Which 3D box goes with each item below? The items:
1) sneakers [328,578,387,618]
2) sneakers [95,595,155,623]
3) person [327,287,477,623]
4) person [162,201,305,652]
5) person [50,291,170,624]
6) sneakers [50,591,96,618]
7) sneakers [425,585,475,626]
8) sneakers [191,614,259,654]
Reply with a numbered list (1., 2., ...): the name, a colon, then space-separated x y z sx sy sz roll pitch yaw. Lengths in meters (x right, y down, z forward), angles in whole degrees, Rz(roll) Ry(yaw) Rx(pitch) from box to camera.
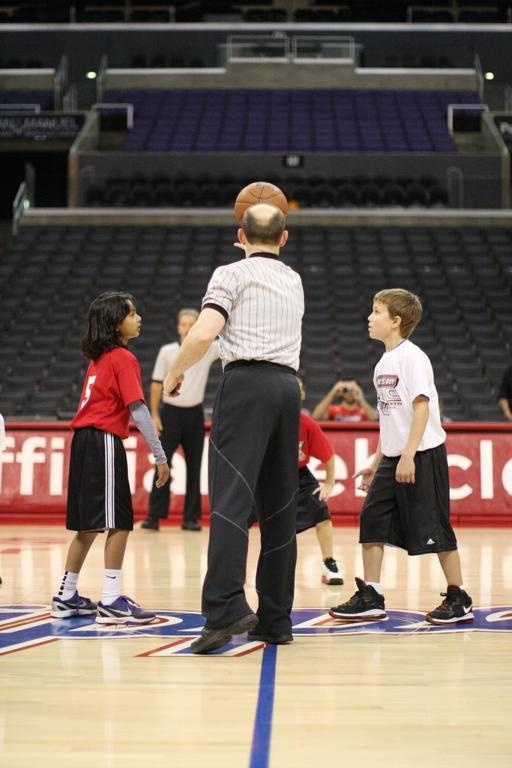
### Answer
1. sneakers: 0.391 0.804 4.296 0.260 0.177 0.101 2 -12 -1
2. sneakers: -0.478 0.823 4.232 0.226 0.102 0.087 1 -7 -2
3. person: 0.532 0.254 4.328 0.506 1.264 0.398 -2 -12 10
4. person: -0.059 0.122 3.727 0.334 1.450 0.589 -7 -14 31
5. person: -0.552 0.266 4.349 0.370 1.233 0.453 4 -13 -18
6. sneakers: -0.691 0.828 4.379 0.199 0.090 0.076 2 -1 -42
7. sneakers: 0.709 0.802 4.190 0.203 0.139 0.074 8 -15 -35
8. sneakers: -0.092 0.791 3.659 0.164 0.069 0.054 -27 -40 6
